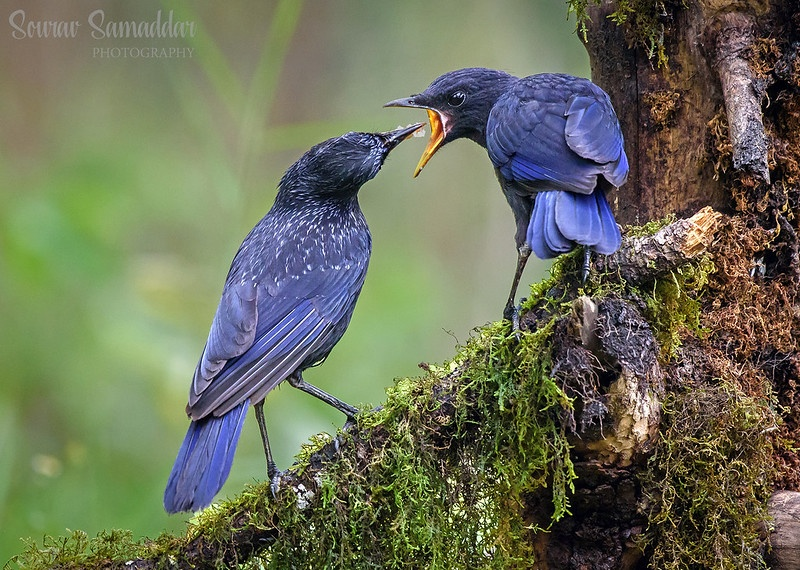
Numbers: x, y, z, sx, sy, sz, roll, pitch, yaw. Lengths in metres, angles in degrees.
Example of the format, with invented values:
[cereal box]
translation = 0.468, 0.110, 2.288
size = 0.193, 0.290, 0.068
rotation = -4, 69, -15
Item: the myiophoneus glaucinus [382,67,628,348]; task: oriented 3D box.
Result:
[myiophoneus glaucinus]
translation = 0.771, -0.641, 7.294
size = 1.198, 2.078, 0.378
rotation = -17, -36, 26
